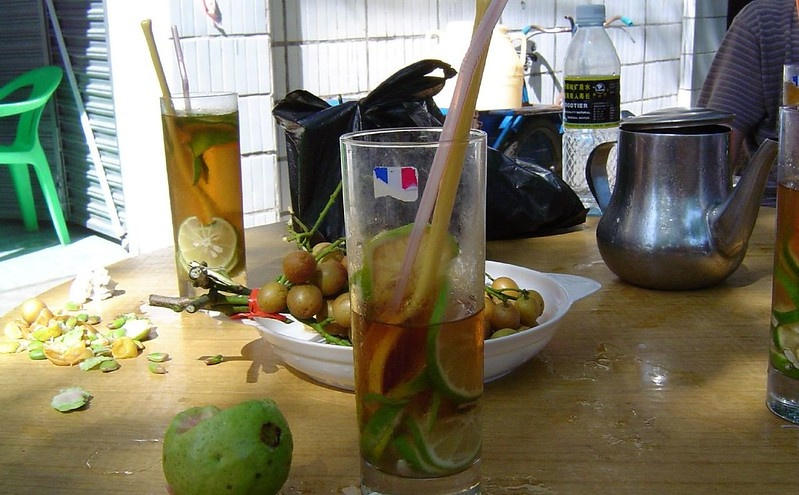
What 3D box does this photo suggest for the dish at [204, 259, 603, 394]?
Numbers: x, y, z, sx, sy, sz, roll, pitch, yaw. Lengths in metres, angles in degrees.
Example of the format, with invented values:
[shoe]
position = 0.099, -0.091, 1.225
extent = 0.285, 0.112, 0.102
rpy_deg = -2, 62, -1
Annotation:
[dish]
position = 0.049, 0.105, 0.724
extent = 0.325, 0.072, 0.245
rpy_deg = -3, 13, -12

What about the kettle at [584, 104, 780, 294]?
[kettle]
position = 0.429, -0.077, 0.947
extent = 0.318, 0.277, 0.229
rpy_deg = 6, 12, 38

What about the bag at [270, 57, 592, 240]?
[bag]
position = 0.044, -0.111, 1.142
extent = 0.458, 0.225, 0.396
rpy_deg = 2, 3, -28

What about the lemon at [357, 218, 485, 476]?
[lemon]
position = 0.017, 0.095, 0.511
extent = 0.106, 0.201, 0.072
rpy_deg = -1, 20, 4
